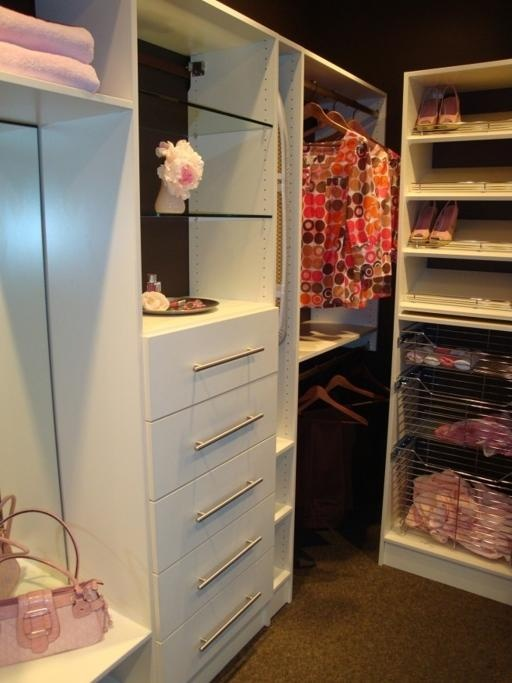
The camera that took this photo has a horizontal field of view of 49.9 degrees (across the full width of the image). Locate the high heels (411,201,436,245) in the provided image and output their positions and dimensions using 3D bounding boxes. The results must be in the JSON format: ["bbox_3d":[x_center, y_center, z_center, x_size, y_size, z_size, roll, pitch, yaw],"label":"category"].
[{"bbox_3d":[0.711,-0.500,2.289,0.078,0.074,0.294,5,48,26],"label":"high heels"}]

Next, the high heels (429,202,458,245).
[{"bbox_3d":[0.737,-0.474,2.238,0.076,0.062,0.243,11,63,36],"label":"high heels"}]

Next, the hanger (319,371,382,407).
[{"bbox_3d":[0.435,0.221,2.550,0.232,0.125,0.151,26,36,35],"label":"hanger"}]

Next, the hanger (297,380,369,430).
[{"bbox_3d":[0.332,0.282,2.440,0.310,0.135,0.015,19,39,21],"label":"hanger"}]
